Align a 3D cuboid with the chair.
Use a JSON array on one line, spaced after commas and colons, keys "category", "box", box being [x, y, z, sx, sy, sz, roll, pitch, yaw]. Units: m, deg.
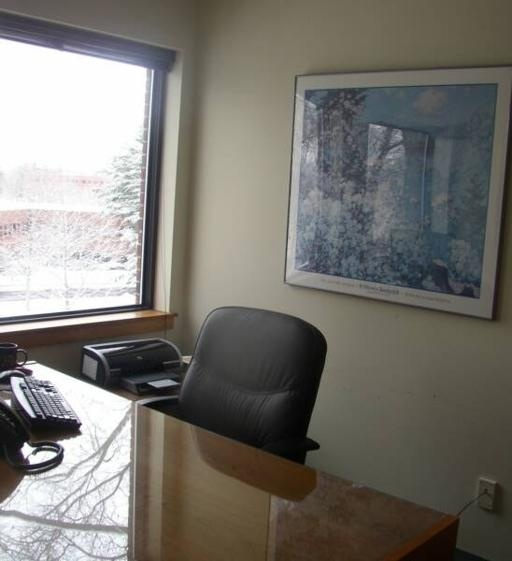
[{"category": "chair", "box": [0.049, 0.310, 2.051, 0.556, 0.744, 0.624, 11, -7, 33]}]
